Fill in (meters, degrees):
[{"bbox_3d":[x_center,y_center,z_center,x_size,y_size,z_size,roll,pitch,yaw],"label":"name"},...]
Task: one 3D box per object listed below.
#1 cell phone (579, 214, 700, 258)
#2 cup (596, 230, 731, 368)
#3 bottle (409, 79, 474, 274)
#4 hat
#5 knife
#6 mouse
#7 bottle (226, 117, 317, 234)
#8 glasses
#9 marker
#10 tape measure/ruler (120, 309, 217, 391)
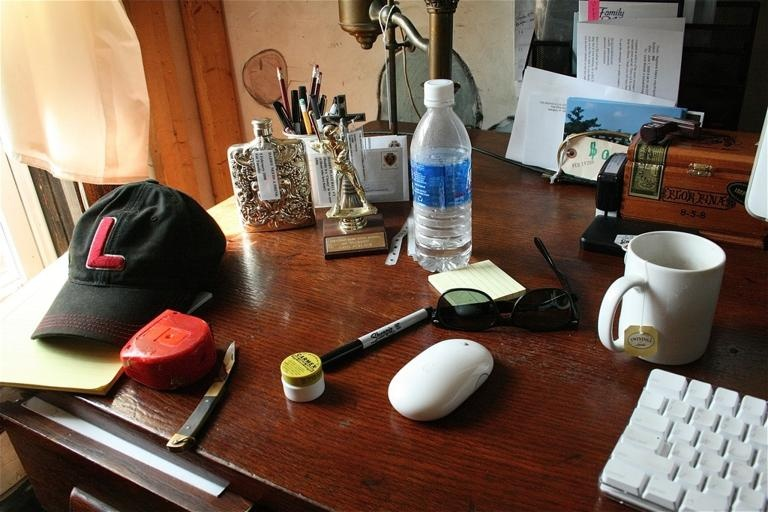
[{"bbox_3d":[0.451,-0.023,0.957,0.164,0.019,0.117,19,42,16],"label":"cell phone"},{"bbox_3d":[0.395,0.063,0.739,0.131,0.153,0.164,15,33,31],"label":"cup"},{"bbox_3d":[0.105,-0.135,0.957,0.120,0.342,0.123,-4,25,2],"label":"bottle"},{"bbox_3d":[-0.435,-0.020,0.914,0.273,0.193,0.392,9,29,15],"label":"hat"},{"bbox_3d":[-0.243,0.192,0.732,0.032,0.051,0.172,6,28,18],"label":"knife"},{"bbox_3d":[0.085,0.158,0.736,0.105,0.055,0.176,28,44,34],"label":"mouse"},{"bbox_3d":[-0.242,-0.163,1.067,0.170,0.217,0.068,-10,13,-26],"label":"bottle"},{"bbox_3d":[0.218,0.044,0.874,0.206,0.069,0.250,-12,24,-23],"label":"glasses"},{"bbox_3d":[-0.010,0.125,0.799,0.169,0.021,0.022,-21,56,-32],"label":"marker"},{"bbox_3d":[-0.310,0.136,0.780,0.121,0.051,0.110,-1,32,5],"label":"tape measure/ruler"}]
